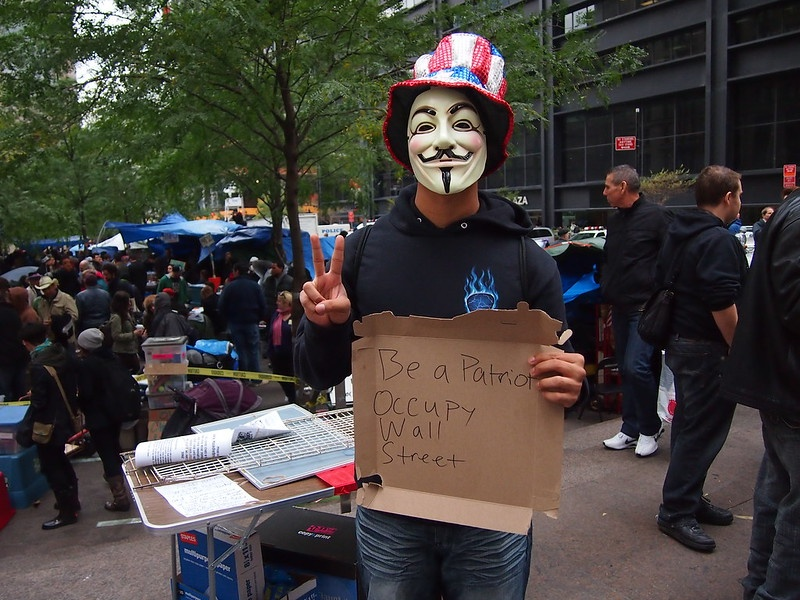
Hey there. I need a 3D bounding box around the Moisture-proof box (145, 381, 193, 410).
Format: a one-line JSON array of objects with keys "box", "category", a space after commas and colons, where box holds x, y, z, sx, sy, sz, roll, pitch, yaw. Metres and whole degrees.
[{"box": [-2.369, 0.931, 7.067, 0.355, 0.348, 0.338, 0, 1, -36], "category": "Moisture-proof box"}]

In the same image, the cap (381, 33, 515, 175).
[{"box": [0.269, -0.950, 3.324, 0.578, 0.436, 0.715, 7, -33, 18], "category": "cap"}]

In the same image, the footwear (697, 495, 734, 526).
[{"box": [2.423, 1.646, 5.311, 0.368, 0.161, 0.139, 1, 2, -1], "category": "footwear"}]

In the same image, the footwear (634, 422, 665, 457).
[{"box": [2.411, 1.358, 6.625, 0.151, 0.137, 0.416, -13, 14, 41], "category": "footwear"}]

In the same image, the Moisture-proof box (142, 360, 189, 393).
[{"box": [-2.376, 0.794, 6.988, 0.439, 0.352, 0.277, 3, 14, 31], "category": "Moisture-proof box"}]

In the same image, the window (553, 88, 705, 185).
[{"box": [11.781, -8.249, 36.355, 0.374, 4.703, 10.004, -15, 12, -30], "category": "window"}]

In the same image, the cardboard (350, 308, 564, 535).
[{"box": [0.256, 0.514, 2.929, 0.915, 0.934, 0.287, 2, -2, 15], "category": "cardboard"}]

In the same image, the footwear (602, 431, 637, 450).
[{"box": [2.155, 1.403, 6.780, 0.352, 0.143, 0.132, 1, -8, -10], "category": "footwear"}]

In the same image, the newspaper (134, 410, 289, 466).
[{"box": [-1.088, 0.812, 3.916, 0.620, 0.110, 0.318, -9, 0, -25], "category": "newspaper"}]

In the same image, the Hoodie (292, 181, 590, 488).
[{"box": [0.183, 0.234, 3.452, 1.416, 1.146, 0.843, -2, -13, 5], "category": "Hoodie"}]

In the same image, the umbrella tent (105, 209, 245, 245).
[{"box": [-6.271, -2.052, 19.868, 1.941, 0.523, 1.902, -5, -1, 41], "category": "umbrella tent"}]
